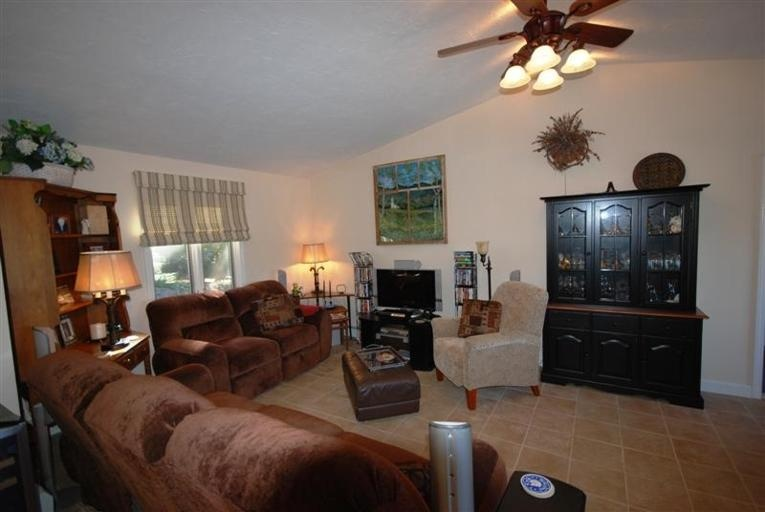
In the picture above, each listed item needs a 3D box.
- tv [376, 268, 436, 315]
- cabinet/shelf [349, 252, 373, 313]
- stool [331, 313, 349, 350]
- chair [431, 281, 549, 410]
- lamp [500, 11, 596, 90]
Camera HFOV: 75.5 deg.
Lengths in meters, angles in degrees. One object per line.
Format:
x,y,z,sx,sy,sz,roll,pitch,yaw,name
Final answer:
0.352,0.479,6.659,0.643,0.373,0.064,3,7,35,tv
-0.275,0.383,7.018,0.295,0.852,0.262,-4,3,-4,cabinet/shelf
-0.595,1.055,7.048,0.218,0.509,0.716,-4,2,-6,stool
1.296,0.968,5.914,1.382,1.416,1.268,1,-2,-19,chair
1.405,-1.699,4.154,0.906,0.330,0.837,-1,-4,-4,lamp
